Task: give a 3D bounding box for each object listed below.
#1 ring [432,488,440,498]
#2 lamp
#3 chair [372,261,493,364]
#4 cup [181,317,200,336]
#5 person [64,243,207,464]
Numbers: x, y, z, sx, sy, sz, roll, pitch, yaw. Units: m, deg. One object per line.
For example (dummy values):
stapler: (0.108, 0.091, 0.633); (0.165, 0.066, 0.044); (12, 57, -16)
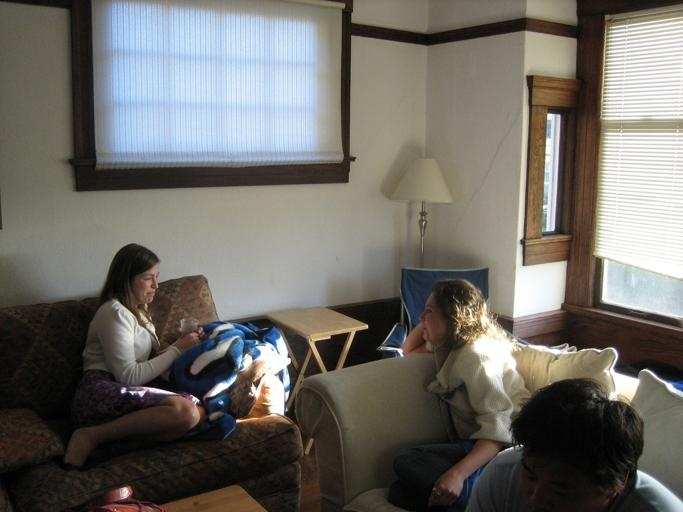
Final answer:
ring: (0.343, 0.863, 1.978); (0.018, 0.028, 0.026); (-1, -9, -1)
lamp: (0.603, -0.328, 4.128); (0.462, 0.848, 0.481); (3, 11, 10)
chair: (0.553, 0.335, 3.616); (0.590, 1.085, 0.702); (0, -4, 5)
cup: (-0.806, 0.362, 2.904); (0.095, 0.105, 0.091); (5, 13, -1)
person: (-1.033, 0.476, 2.827); (0.600, 1.067, 0.745); (2, -8, -18)
